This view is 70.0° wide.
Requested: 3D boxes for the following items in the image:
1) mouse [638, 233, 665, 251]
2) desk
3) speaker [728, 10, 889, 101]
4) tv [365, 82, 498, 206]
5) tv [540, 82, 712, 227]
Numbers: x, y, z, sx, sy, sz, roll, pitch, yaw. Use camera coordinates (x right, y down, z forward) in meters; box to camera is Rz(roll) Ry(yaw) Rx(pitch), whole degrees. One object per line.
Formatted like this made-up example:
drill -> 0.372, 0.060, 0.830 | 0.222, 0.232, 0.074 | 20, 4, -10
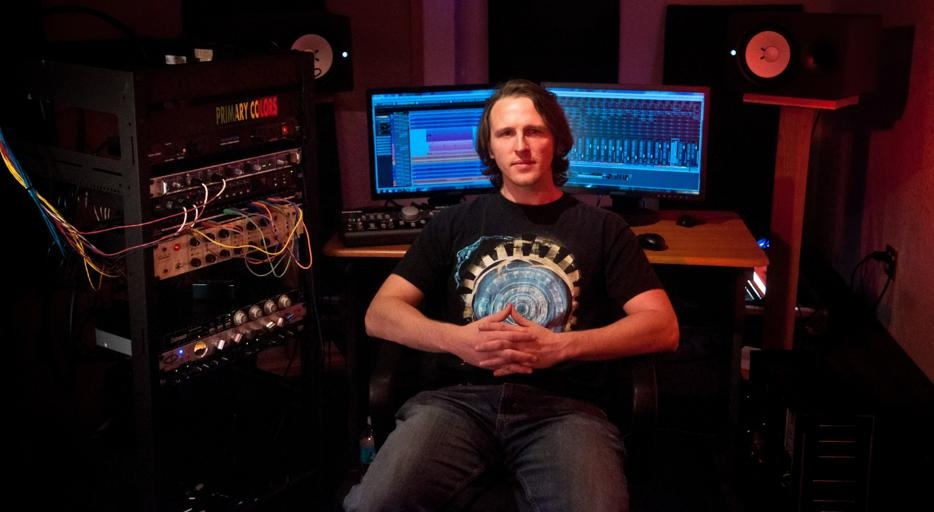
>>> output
mouse -> 0.986, -0.084, 3.569 | 0.154, 0.045, 0.090 | 11, 37, 13
desk -> 0.756, 0.870, 4.430 | 2.785, 1.156, 1.430 | -19, -7, 18
speaker -> 2.119, -1.248, 4.071 | 0.620, 0.544, 0.858 | -14, 22, -23
tv -> -0.184, -0.654, 3.863 | 0.974, 0.612, 0.082 | -11, 16, -40
tv -> 0.858, -0.582, 3.645 | 0.970, 0.689, 0.346 | 2, 14, 9
